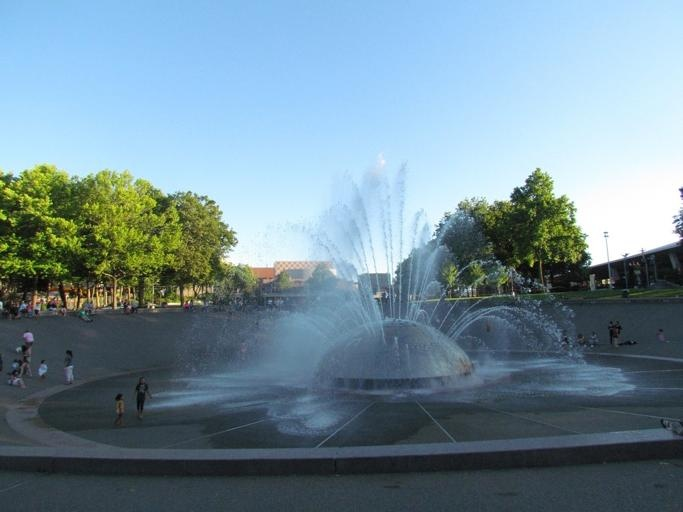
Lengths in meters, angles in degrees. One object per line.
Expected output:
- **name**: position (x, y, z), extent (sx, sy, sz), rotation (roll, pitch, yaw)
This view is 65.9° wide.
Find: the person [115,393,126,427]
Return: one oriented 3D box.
- **person**: position (-6.207, 4.246, 14.748), extent (0.217, 0.797, 1.135), rotation (2, -11, -23)
